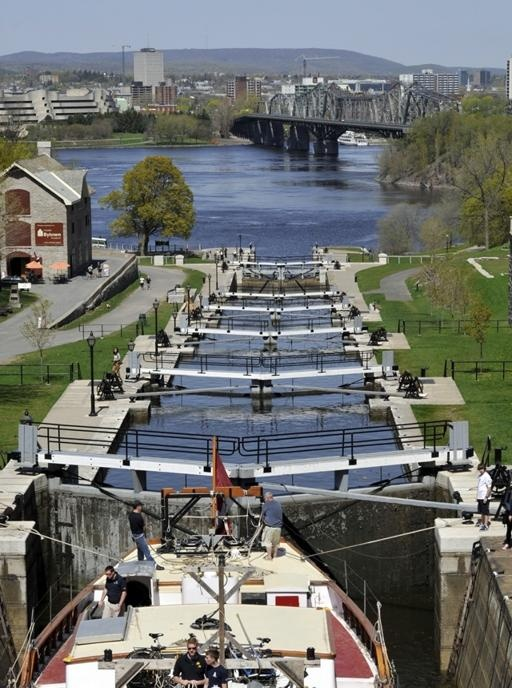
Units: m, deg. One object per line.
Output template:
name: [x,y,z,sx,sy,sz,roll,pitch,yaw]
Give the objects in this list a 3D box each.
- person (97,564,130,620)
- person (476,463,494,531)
person: [-2.774,4.998,26.893,0.464,1.430,0.468,1,14,-7]
person: [5.076,3.425,31.590,0.330,1.699,1.180,0,13,9]
